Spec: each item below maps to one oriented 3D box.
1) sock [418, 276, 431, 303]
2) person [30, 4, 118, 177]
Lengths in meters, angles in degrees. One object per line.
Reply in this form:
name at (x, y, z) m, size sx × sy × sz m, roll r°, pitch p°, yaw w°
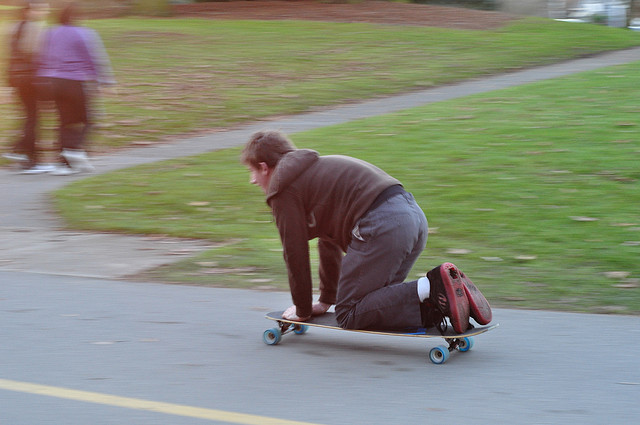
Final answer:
sock at (1.016, 0.751, 9.372) m, size 0.122 × 0.251 × 0.154 m, roll -2°, pitch 19°, yaw 5°
person at (-4.002, -1.983, 15.481) m, size 1.312 × 2.800 × 1.079 m, roll -7°, pitch 21°, yaw -7°
